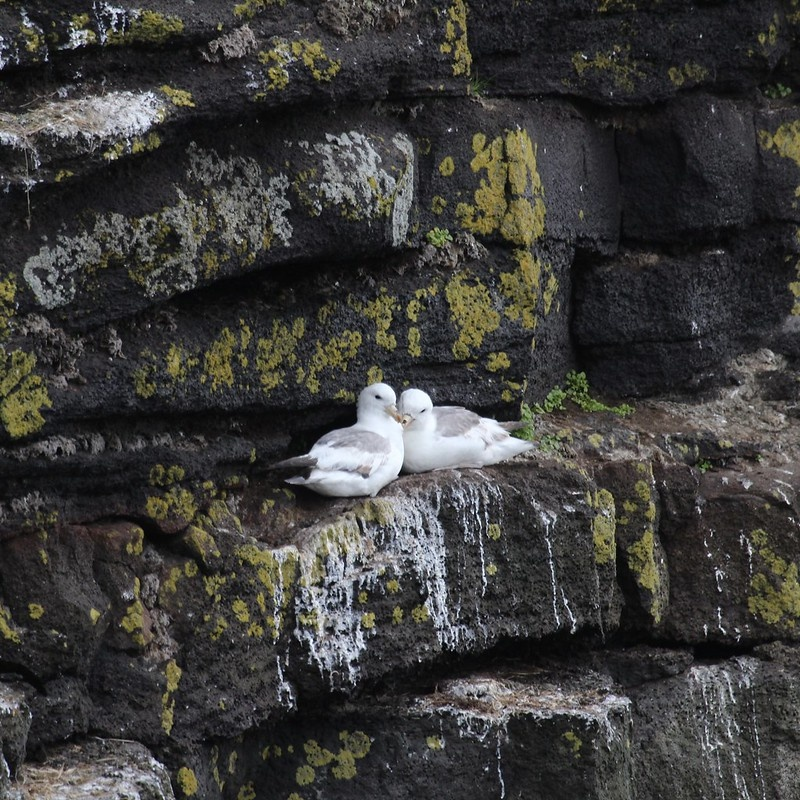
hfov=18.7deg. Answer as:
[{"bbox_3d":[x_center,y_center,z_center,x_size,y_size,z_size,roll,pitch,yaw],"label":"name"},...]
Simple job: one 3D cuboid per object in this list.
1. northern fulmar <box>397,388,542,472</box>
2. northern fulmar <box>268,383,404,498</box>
[{"bbox_3d":[0.334,0.136,12.479,0.589,0.475,0.355,-6,2,-15],"label":"northern fulmar"},{"bbox_3d":[-0.248,0.201,12.211,0.647,0.592,0.408,-4,-9,-13],"label":"northern fulmar"}]
